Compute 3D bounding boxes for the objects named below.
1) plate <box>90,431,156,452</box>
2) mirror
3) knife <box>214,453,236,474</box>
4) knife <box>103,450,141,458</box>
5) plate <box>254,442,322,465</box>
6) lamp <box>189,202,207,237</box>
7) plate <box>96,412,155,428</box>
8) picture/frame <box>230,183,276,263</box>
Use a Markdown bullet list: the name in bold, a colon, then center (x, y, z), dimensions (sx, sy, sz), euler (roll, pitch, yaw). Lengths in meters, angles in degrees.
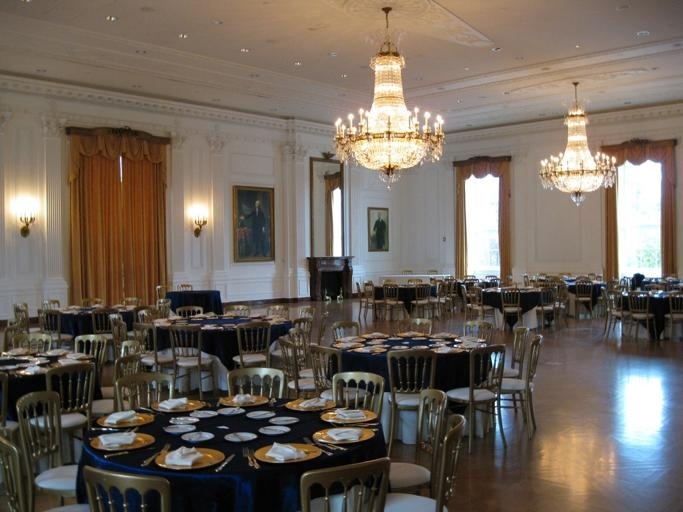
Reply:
- **plate**: center (-1.643, 1.365, 4.421), dimensions (0.463, 0.087, 0.296), euler (0, 10, -23)
- **mirror**: center (-0.448, -1.470, 17.756), dimensions (0.500, 2.886, 1.481), euler (10, 11, 42)
- **knife**: center (-0.816, 1.449, 4.181), dimensions (0.034, 0.030, 0.261), euler (20, 12, 9)
- **knife**: center (-1.612, 1.423, 4.281), dimensions (0.227, 0.022, 0.056), euler (2, 4, -38)
- **plate**: center (-0.389, 1.394, 4.260), dimensions (0.485, 0.085, 0.294), euler (3, 9, -6)
- **lamp**: center (-3.708, -0.919, 15.288), dimensions (0.471, 0.869, 0.214), euler (-1, 9, -25)
- **plate**: center (-1.746, 1.318, 4.777), dimensions (0.445, 0.086, 0.237), euler (1, 10, -19)
- **picture/frame**: center (-2.452, -0.891, 16.359), dimensions (1.333, 2.034, 0.282), euler (-5, 11, -41)
